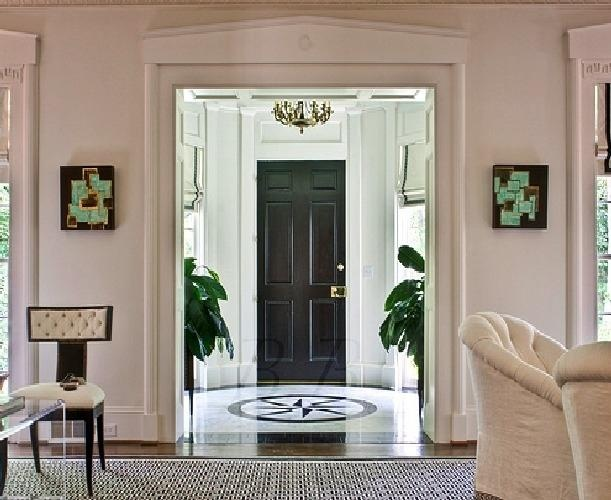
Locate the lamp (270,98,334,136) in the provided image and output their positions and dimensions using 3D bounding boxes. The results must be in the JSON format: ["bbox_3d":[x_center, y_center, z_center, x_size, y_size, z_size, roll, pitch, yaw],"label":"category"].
[{"bbox_3d":[-0.043,-1.559,6.424,0.648,0.314,0.363,0,-2,-4],"label":"lamp"}]
